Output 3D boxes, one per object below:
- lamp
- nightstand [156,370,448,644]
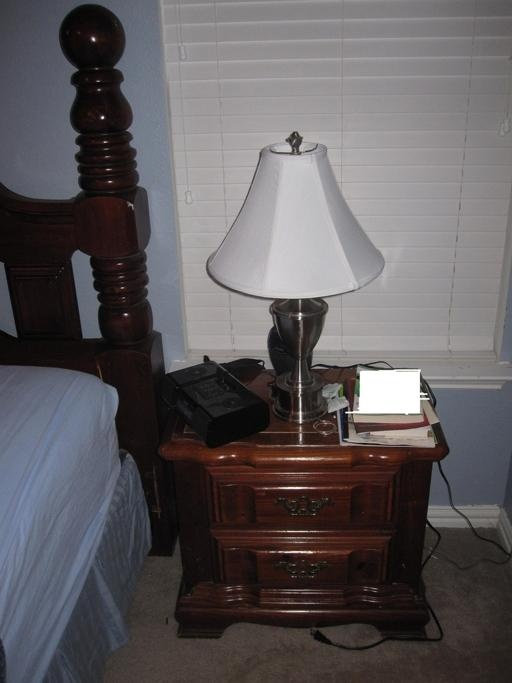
[{"bbox_3d":[0.069,-0.096,1.207,0.340,0.647,0.296,18,31,37],"label":"lamp"},{"bbox_3d":[0.100,0.517,1.739,0.907,0.710,0.596,1,28,4],"label":"nightstand"}]
